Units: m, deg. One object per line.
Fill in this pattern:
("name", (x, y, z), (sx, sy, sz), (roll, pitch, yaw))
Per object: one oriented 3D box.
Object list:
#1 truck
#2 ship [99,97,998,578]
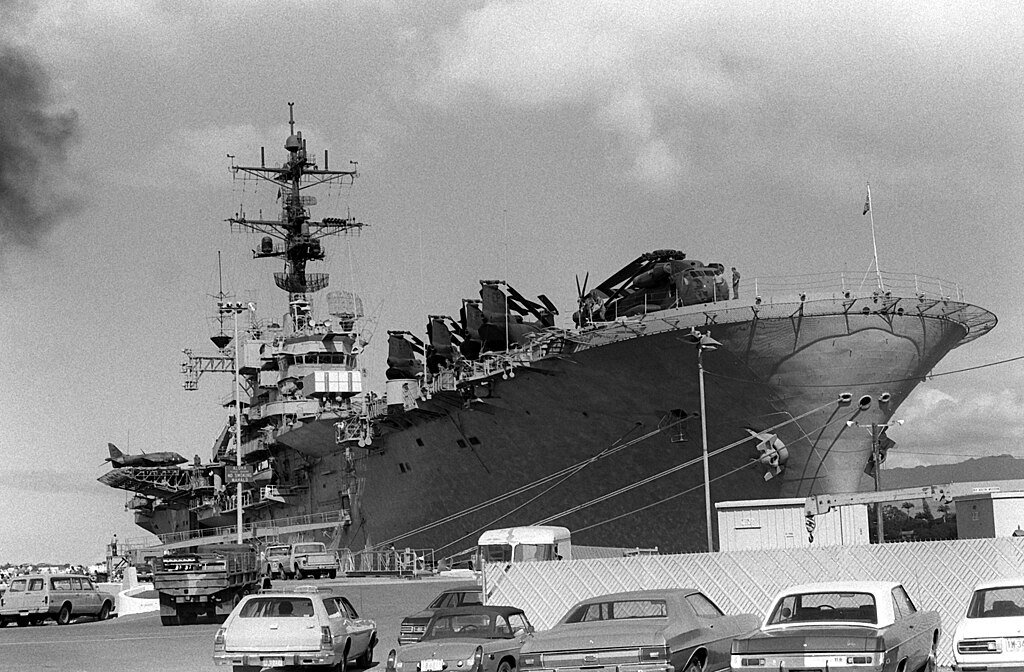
("truck", (-8.087, 6.724, 51.888), (1.673, 1.376, 3.027), (-3, -9, 4))
("ship", (-0.913, 2.494, 68.447), (13.832, 12.133, 35.961), (2, -5, -43))
